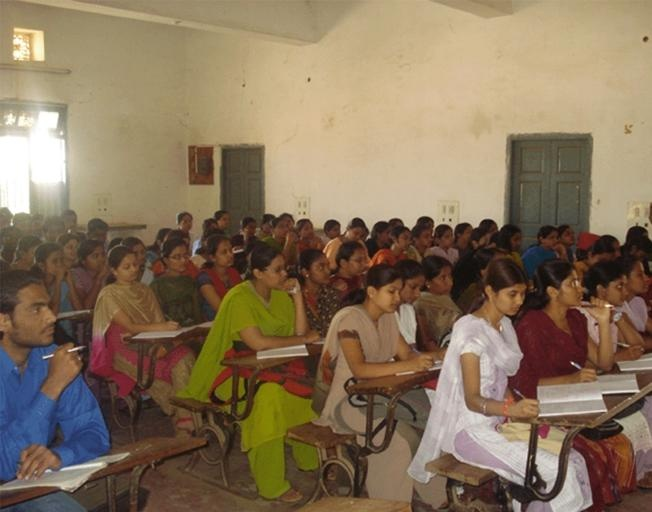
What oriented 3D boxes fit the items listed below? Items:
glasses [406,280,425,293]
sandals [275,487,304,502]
[{"bbox_3d":[0.616,0.196,4.099,0.082,0.068,0.109,3,12,-37],"label":"glasses"},{"bbox_3d":[-0.205,1.389,3.490,0.119,0.054,0.066,-4,3,4],"label":"sandals"}]
